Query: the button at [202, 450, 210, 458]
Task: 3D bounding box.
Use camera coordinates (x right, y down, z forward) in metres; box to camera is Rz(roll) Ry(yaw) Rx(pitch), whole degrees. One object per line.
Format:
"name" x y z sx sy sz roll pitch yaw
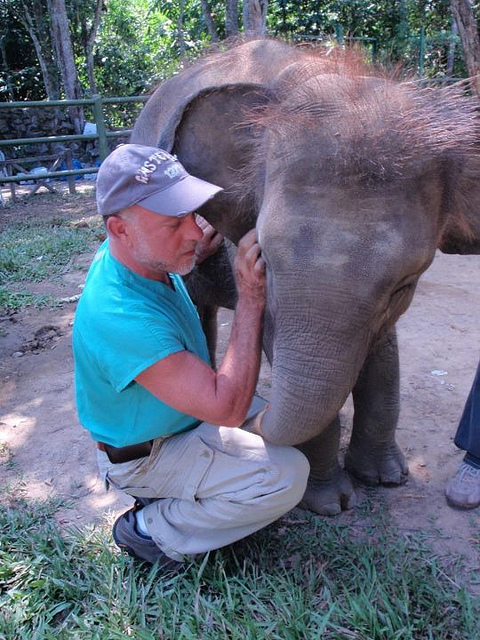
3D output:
"button" -0.105 0.413 1.733 0.019 0.022 0.006 -1 5 14

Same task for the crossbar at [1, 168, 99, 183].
"crossbar" -2.570 -1.968 7.629 1.115 0.078 2.605 -10 17 -14

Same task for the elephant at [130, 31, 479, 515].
"elephant" 0.242 -0.052 1.764 0.749 1.693 0.989 -13 20 -12

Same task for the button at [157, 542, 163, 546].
"button" -0.254 0.708 1.776 0.015 0.012 0.002 0 22 19

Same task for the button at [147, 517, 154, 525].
"button" -0.287 0.641 1.792 0.022 0.018 0.005 -2 -9 18
